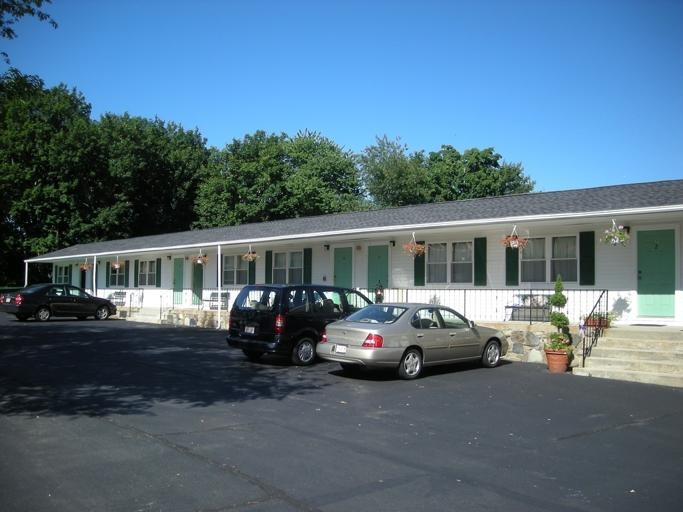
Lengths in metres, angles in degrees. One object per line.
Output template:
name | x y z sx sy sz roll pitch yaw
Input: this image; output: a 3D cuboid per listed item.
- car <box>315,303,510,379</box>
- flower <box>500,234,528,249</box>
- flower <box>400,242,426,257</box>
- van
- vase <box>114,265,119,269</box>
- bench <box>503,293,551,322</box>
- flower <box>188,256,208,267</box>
car | 1.718 1.954 12.361 3.816 1.165 1.766 -1 -2 -37
flower | 5.272 -0.435 16.051 0.651 0.269 0.666 2 2 -24
flower | 2.563 -0.270 18.596 0.623 0.335 0.631 4 3 -13
van | -0.972 1.674 13.821 1.833 1.286 3.172 -3 0 43
vase | -14.094 0.646 32.148 0.168 0.246 0.243 -1 -2 38
bench | 6.054 1.683 16.685 1.416 0.968 0.864 -5 -8 44
flower | -7.175 0.192 25.971 0.758 0.327 0.968 0 2 -13
